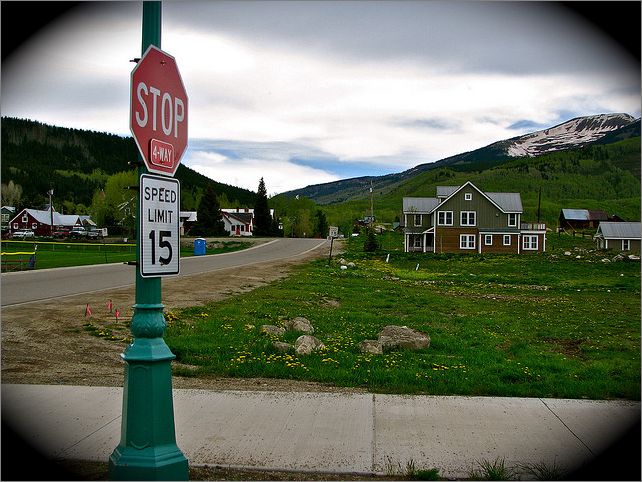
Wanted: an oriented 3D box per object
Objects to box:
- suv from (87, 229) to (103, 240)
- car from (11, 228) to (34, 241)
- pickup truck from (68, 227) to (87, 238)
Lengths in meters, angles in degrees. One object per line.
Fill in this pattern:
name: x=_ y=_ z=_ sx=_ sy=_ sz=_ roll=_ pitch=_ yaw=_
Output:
suv: x=-39.124 y=-1.259 z=87.777 sx=2.090 sy=1.863 sz=3.159 roll=-1 pitch=-7 yaw=-22
car: x=-50.555 y=-1.095 z=85.939 sx=2.090 sy=1.768 sz=3.670 roll=-1 pitch=-4 yaw=-3
pickup truck: x=-42.334 y=-1.071 z=88.934 sx=2.467 sy=1.536 sz=3.703 roll=3 pitch=2 yaw=-3
